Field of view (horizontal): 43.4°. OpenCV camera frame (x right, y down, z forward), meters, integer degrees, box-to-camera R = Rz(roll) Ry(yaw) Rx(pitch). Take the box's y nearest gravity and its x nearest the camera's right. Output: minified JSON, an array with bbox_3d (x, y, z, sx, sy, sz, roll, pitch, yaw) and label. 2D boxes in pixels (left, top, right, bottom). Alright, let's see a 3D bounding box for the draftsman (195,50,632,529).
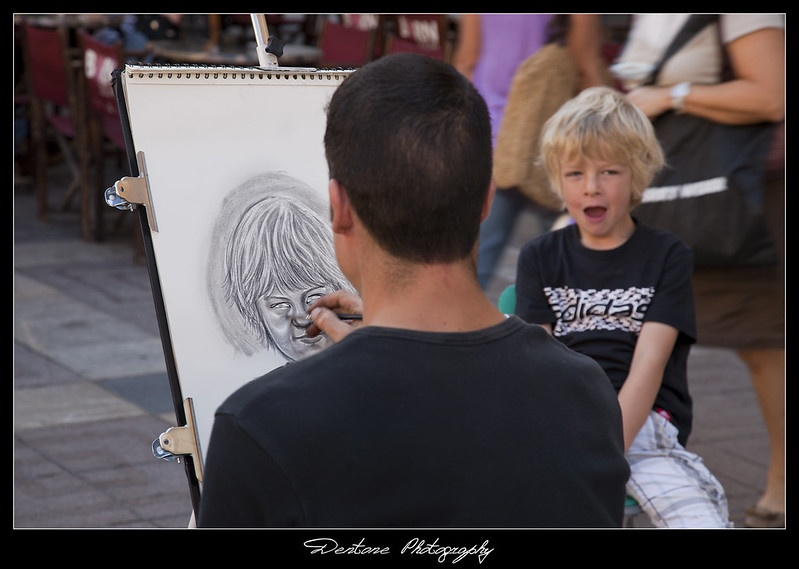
[{"bbox_3d":[0.008,0.037,2.865,1.617,1.532,0.866,-3,13,-12],"label":"draftsman"}]
